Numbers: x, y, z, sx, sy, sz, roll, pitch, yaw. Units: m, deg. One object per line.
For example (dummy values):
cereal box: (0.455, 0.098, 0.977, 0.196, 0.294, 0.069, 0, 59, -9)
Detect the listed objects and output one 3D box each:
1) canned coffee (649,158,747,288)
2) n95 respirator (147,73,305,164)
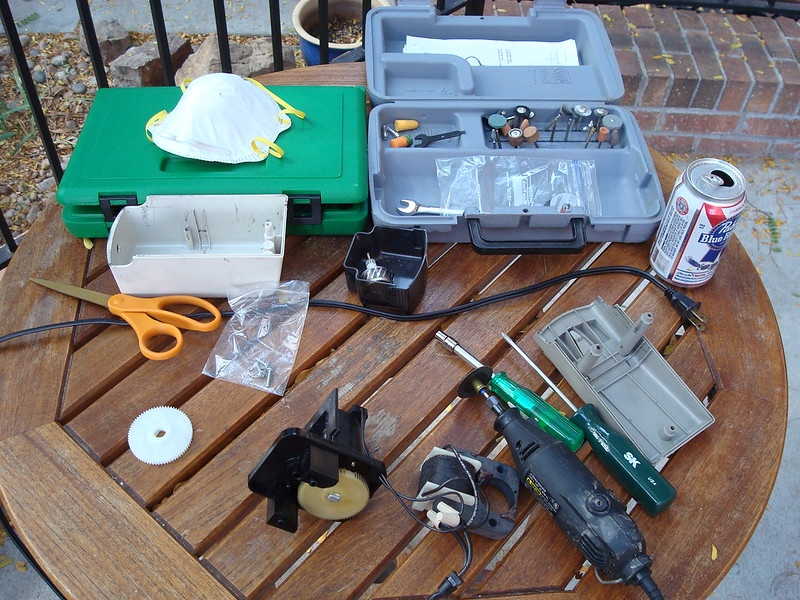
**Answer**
canned coffee: (0.625, -0.158, 1.371, 0.165, 0.233, 0.187, 6, 50, 8)
n95 respirator: (-0.387, -0.386, 1.443, 0.236, 0.082, 0.250, 8, 57, -1)
